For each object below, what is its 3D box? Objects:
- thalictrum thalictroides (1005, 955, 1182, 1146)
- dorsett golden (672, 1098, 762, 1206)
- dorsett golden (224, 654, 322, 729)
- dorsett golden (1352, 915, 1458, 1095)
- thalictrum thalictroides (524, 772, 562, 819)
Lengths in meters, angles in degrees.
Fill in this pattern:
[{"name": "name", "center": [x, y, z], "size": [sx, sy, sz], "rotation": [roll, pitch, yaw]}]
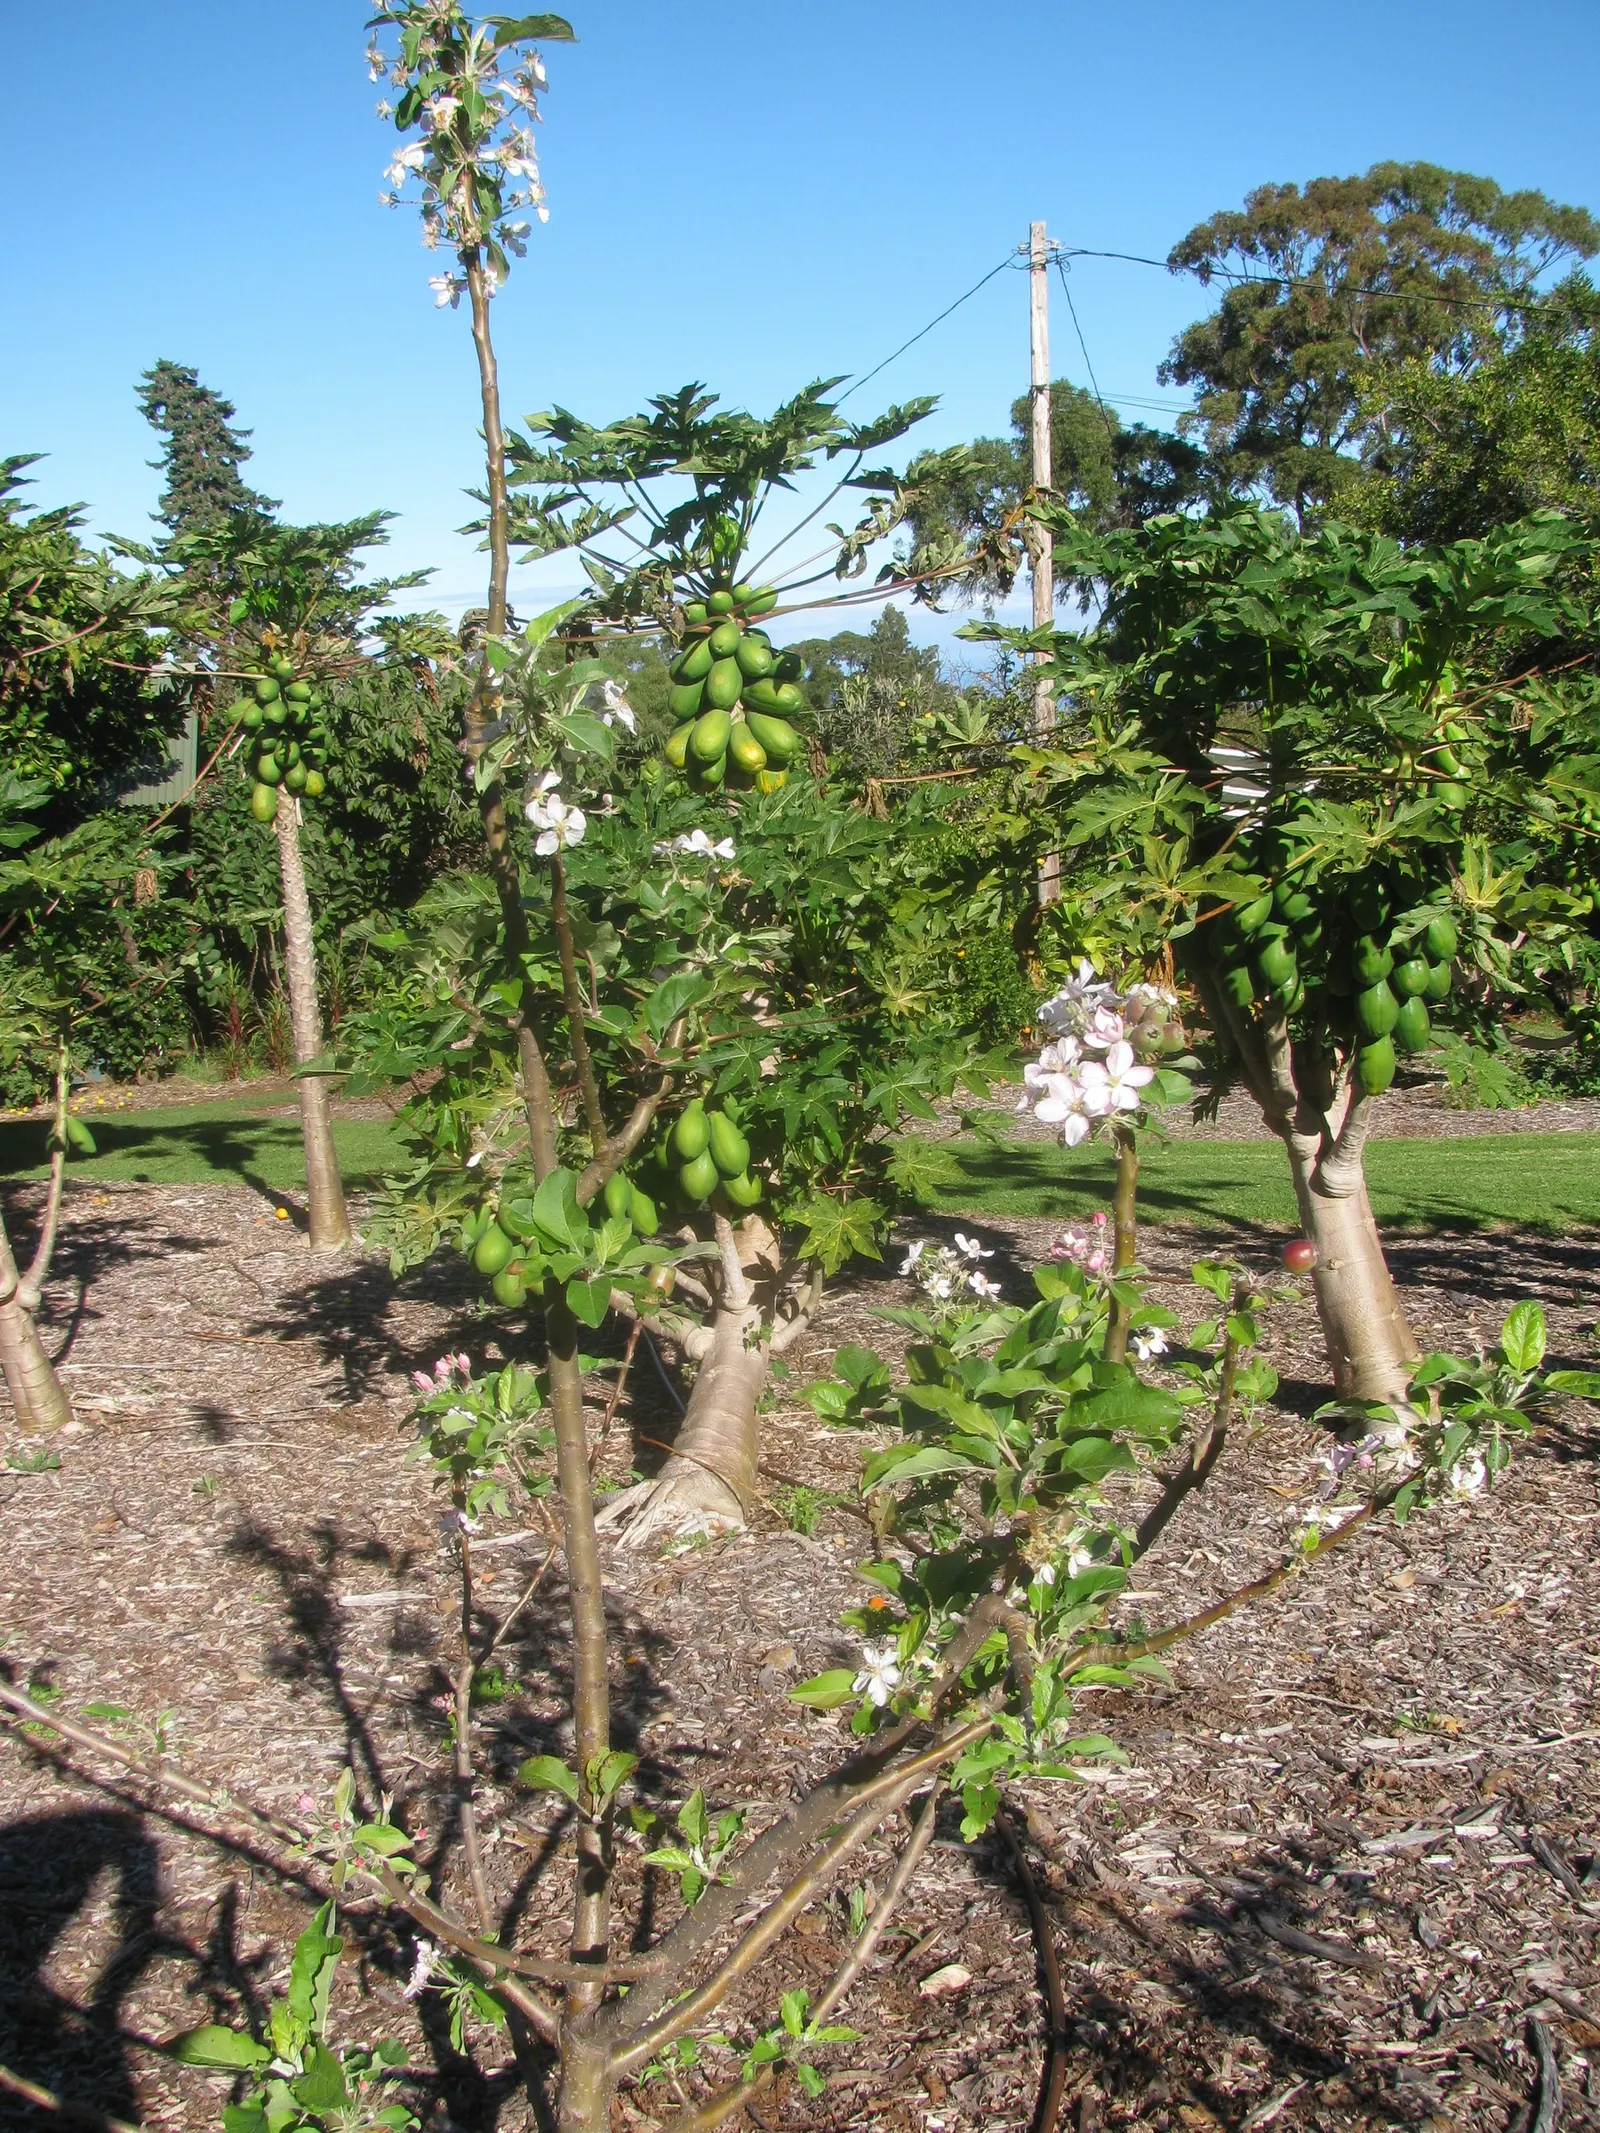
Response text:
[{"name": "thalictrum thalictroides", "center": [0.380, -0.002, 2.153], "size": [0.193, 0.261, 0.339], "rotation": [-3, 11, 11]}, {"name": "dorsett golden", "center": [-0.249, 0.238, 4.696], "size": [0.209, 0.349, 0.315], "rotation": [-6, 11, -5]}, {"name": "dorsett golden", "center": [-1.979, -1.394, 6.379], "size": [0.156, 0.330, 0.309], "rotation": [29, 2, -16]}, {"name": "dorsett golden", "center": [1.688, -0.172, 4.615], "size": [0.318, 0.468, 0.307], "rotation": [-2, 8, 1]}, {"name": "thalictrum thalictroides", "center": [-0.251, -0.270, 1.668], "size": [0.022, 0.038, 0.041], "rotation": [-2, -9, -3]}]
